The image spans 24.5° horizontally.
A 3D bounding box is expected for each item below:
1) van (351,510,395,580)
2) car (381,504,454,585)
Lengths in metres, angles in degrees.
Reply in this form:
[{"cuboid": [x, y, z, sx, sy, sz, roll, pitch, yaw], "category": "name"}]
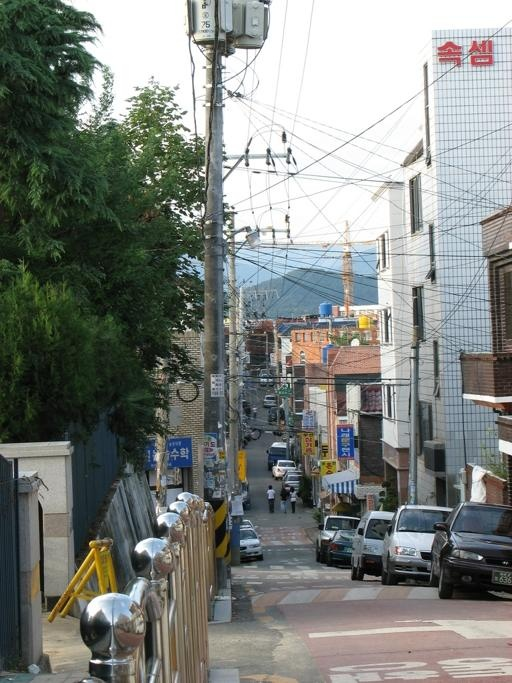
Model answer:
[{"cuboid": [2.305, 4.209, 24.087, 1.054, 1.240, 2.449, -1, -3, 8], "category": "van"}, {"cuboid": [2.800, 3.588, 20.163, 1.201, 1.568, 1.332, -1, -5, 2], "category": "car"}]
